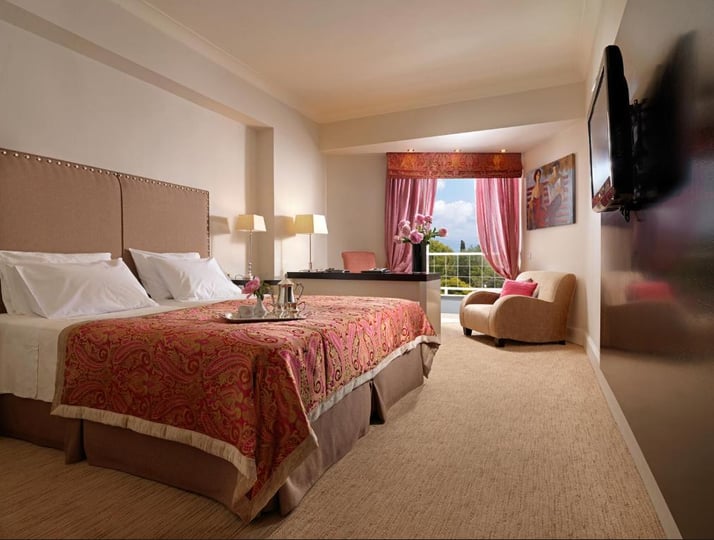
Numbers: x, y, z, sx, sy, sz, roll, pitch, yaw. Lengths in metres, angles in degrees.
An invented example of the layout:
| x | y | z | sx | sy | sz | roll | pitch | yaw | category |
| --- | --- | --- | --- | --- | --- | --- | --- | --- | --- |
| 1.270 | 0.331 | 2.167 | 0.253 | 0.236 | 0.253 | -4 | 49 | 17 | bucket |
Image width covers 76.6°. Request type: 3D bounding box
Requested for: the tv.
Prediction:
| x | y | z | sx | sy | sz | roll | pitch | yaw | category |
| --- | --- | --- | --- | --- | --- | --- | --- | --- | --- |
| 1.652 | -0.845 | 2.912 | 0.273 | 0.959 | 0.892 | 4 | 8 | 27 | tv |

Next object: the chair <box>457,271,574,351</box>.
| x | y | z | sx | sy | sz | roll | pitch | yaw | category |
| --- | --- | --- | --- | --- | --- | --- | --- | --- | --- |
| 2.105 | 0.486 | 5.894 | 1.212 | 0.919 | 0.976 | -1 | 7 | -10 | chair |

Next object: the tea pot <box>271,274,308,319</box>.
| x | y | z | sx | sy | sz | roll | pitch | yaw | category |
| --- | --- | --- | --- | --- | --- | --- | --- | --- | --- |
| -0.556 | 0.223 | 3.836 | 0.280 | 0.491 | 0.414 | 0 | -4 | 8 | tea pot |

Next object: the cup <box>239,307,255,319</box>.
| x | y | z | sx | sy | sz | roll | pitch | yaw | category |
| --- | --- | --- | --- | --- | --- | --- | --- | --- | --- |
| -0.709 | 0.270 | 2.942 | 0.071 | 0.080 | 0.074 | -2 | 6 | 0 | cup |

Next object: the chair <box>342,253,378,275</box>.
| x | y | z | sx | sy | sz | roll | pitch | yaw | category |
| --- | --- | --- | --- | --- | --- | --- | --- | --- | --- |
| 0.059 | -0.088 | 6.647 | 0.343 | 0.483 | 0.353 | -1 | -2 | -38 | chair |
